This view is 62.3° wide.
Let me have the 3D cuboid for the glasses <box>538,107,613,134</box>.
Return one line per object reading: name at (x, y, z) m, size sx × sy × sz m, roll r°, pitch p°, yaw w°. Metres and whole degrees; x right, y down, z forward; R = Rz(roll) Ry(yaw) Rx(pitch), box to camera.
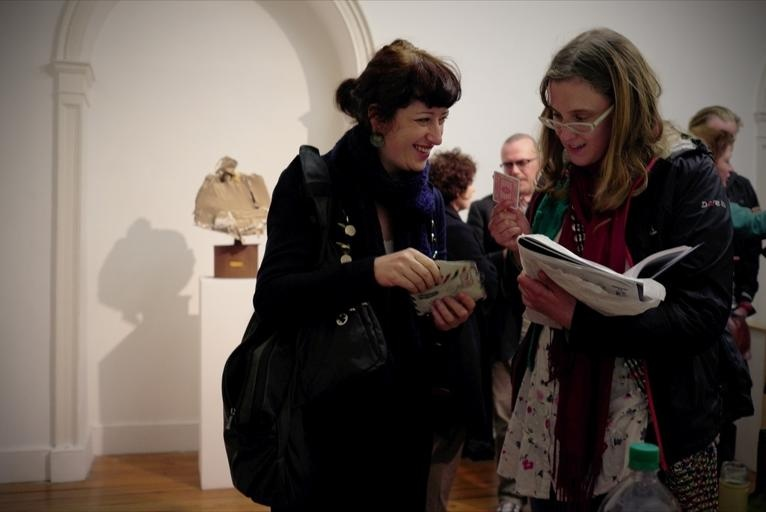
glasses at (0.765, -0.510, 2.435) m, size 0.136 × 0.039 × 0.130 m, roll -32°, pitch 34°, yaw -25°
